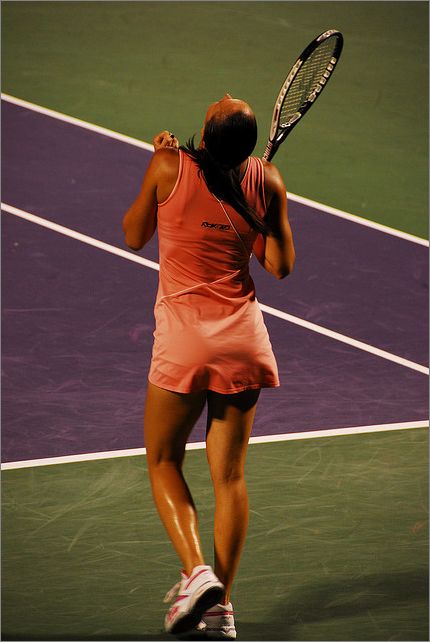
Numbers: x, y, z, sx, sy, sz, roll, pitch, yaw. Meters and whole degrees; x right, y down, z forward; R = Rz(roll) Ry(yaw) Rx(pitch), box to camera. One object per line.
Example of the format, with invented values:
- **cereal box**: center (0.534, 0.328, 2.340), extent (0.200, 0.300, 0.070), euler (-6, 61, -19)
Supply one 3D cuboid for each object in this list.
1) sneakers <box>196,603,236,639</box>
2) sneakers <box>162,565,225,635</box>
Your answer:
- **sneakers**: center (0.007, 0.917, 1.969), extent (0.074, 0.067, 0.163), euler (1, 2, -10)
- **sneakers**: center (-0.063, 0.744, 1.765), extent (0.129, 0.252, 0.120), euler (2, 47, -29)
